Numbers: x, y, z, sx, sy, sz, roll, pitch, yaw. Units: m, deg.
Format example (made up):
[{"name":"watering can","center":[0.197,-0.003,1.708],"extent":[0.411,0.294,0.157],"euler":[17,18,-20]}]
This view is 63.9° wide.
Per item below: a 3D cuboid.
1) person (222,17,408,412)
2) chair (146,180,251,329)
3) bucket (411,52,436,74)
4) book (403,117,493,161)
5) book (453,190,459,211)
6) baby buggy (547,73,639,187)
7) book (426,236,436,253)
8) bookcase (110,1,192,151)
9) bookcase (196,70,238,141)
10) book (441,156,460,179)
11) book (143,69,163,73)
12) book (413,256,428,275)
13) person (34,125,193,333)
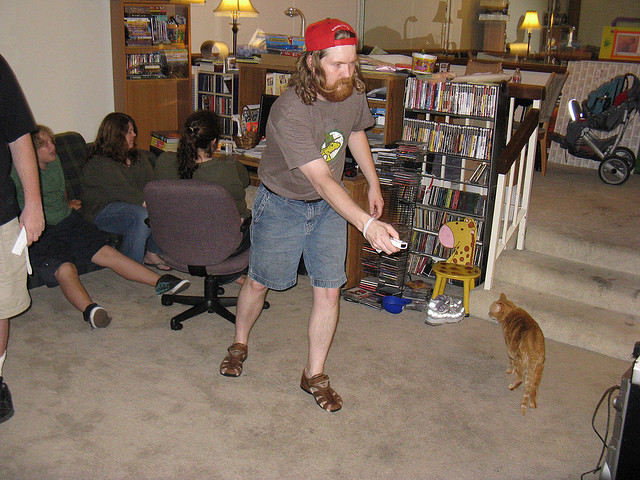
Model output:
[{"name":"person","center":[-0.093,-0.151,2.949],"extent":[0.906,2.063,1.581],"euler":[2,23,-1]},{"name":"chair","center":[-0.794,0.047,3.589],"extent":[0.748,1.082,0.729],"euler":[-6,20,-19]},{"name":"bucket","center":[0.924,-1.589,4.616],"extent":[0.196,0.144,0.206],"euler":[2,23,-1]},{"name":"book","center":[1.020,-0.829,4.180],"extent":[0.756,0.233,0.089],"euler":[15,27,28]},{"name":"book","center":[1.127,-0.334,4.258],"extent":[0.038,0.147,0.041],"euler":[8,24,14]},{"name":"baby buggy","center":[3.401,-1.352,6.097],"extent":[0.554,1.172,0.958],"euler":[-11,27,-28]},{"name":"book","center":[0.953,0.034,4.436],"extent":[0.065,0.145,0.024],"euler":[9,25,17]},{"name":"bookcase","center":[-2.479,-2.430,7.610],"extent":[1.201,2.047,0.856],"euler":[-9,26,-24]},{"name":"bookcase","center":[-1.592,-1.892,7.177],"extent":[0.324,0.878,0.925],"euler":[4,12,16]},{"name":"book","center":[1.148,-0.620,4.435],"extent":[0.051,0.198,0.189],"euler":[1,13,-28]},{"name":"book","center":[-2.447,-2.471,7.489],"extent":[0.248,0.047,0.056],"euler":[-6,25,-18]},{"name":"book","center":[0.878,0.224,4.522],"extent":[0.033,0.135,0.133],"euler":[22,10,-13]},{"name":"person","center":[-1.284,-0.025,4.168],"extent":[0.859,1.318,0.679],"euler":[-9,0,-13]}]
